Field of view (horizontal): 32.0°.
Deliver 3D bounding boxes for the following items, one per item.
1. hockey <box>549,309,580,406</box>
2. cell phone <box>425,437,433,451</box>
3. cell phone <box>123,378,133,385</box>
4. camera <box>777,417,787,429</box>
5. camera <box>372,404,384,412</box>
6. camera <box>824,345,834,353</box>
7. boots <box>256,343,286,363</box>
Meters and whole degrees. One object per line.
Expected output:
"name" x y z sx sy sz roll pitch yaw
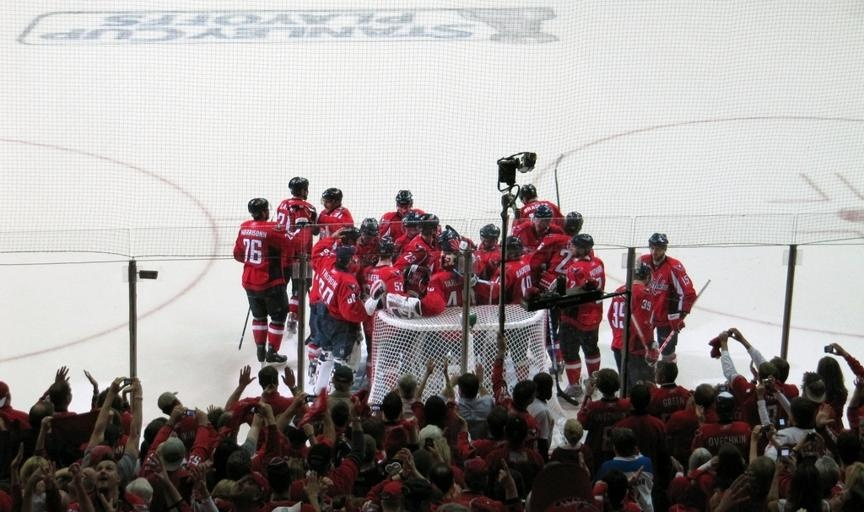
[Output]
"hockey" 2.148 1.616 25.241 0.374 1.695 0.378 6 -2 -33
"cell phone" -0.018 2.749 22.309 0.115 0.168 0.273 4 -16 -9
"cell phone" -4.712 1.924 23.237 0.137 0.075 0.228 -2 -6 -18
"camera" 5.419 2.537 23.120 0.137 0.127 0.034 -1 -21 6
"camera" -0.827 2.302 23.155 0.175 0.165 0.092 0 19 6
"camera" 6.315 1.441 23.858 0.131 0.119 0.177 -2 -16 13
"boots" -2.674 1.606 25.055 0.619 0.397 0.201 -2 14 -13
